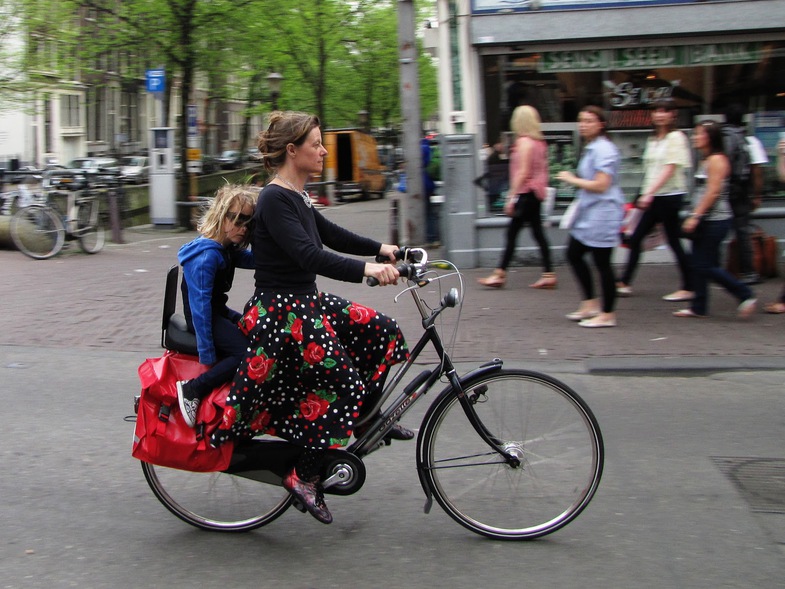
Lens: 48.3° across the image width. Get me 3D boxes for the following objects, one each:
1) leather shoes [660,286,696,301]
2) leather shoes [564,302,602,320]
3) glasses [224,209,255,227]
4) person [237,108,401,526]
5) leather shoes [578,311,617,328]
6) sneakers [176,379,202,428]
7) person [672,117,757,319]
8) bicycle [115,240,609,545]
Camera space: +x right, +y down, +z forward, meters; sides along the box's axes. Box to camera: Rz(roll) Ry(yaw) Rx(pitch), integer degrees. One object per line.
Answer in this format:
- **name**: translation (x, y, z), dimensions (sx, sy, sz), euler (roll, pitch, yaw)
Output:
- **leather shoes**: translation (3.059, 0.021, 9.349), dimensions (0.328, 0.103, 0.110), euler (0, 4, 20)
- **leather shoes**: translation (1.867, 0.174, 8.539), dimensions (0.352, 0.118, 0.157), euler (-5, 1, 20)
- **glasses**: translation (-0.781, -0.386, 4.456), dimensions (0.105, 0.043, 0.099), euler (-3, 11, -42)
- **person**: translation (-0.405, 0.123, 4.452), dimensions (0.935, 2.072, 0.605), euler (-4, 13, -6)
- **leather shoes**: translation (1.962, 0.253, 8.338), dimensions (0.410, 0.136, 0.123), euler (2, 2, 9)
- **sneakers**: translation (-1.025, 0.554, 4.398), dimensions (0.115, 0.219, 0.088), euler (-18, -5, 13)
- **person**: translation (3.174, -0.724, 8.530), dimensions (0.734, 1.886, 0.764), euler (2, 14, 16)
- **bicycle**: translation (0.051, 0.629, 5.085), dimensions (2.808, 1.344, 1.219), euler (-2, 7, 2)
